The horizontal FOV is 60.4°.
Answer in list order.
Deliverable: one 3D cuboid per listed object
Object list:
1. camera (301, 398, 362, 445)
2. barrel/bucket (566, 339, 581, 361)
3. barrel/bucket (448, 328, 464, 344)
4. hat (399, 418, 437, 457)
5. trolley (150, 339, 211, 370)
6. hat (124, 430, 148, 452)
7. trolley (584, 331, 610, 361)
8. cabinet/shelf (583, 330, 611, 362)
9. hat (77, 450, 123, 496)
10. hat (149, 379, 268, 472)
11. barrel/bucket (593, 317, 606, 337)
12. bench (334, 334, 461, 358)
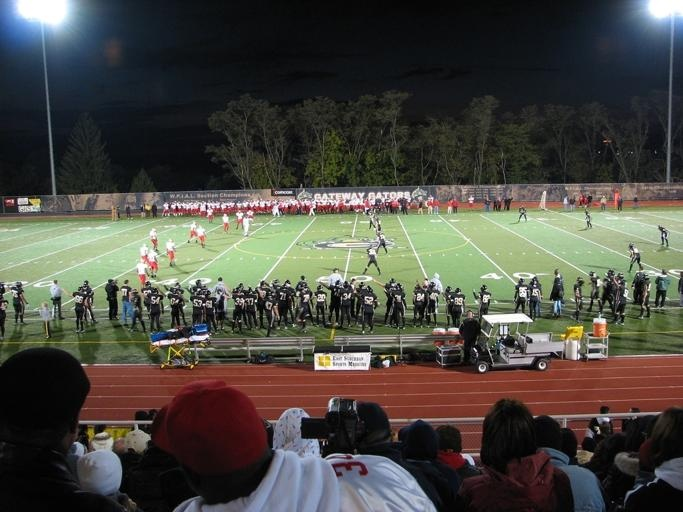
[{"bbox_3d":[-0.046,1.046,3.629,0.430,0.277,0.444,-7,-22,21],"label":"camera"},{"bbox_3d":[6.806,2.754,17.291,0.394,0.534,0.231,-2,-1,17],"label":"barrel/bucket"},{"bbox_3d":[3.525,2.523,18.266,0.458,0.358,0.958,-2,-1,10],"label":"barrel/bucket"},{"bbox_3d":[0.597,1.452,4.668,0.281,0.345,0.395,-2,-19,8],"label":"hat"},{"bbox_3d":[-5.044,3.072,18.287,1.550,0.703,1.031,0,-3,-5],"label":"trolley"},{"bbox_3d":[-2.598,2.348,7.489,0.263,0.302,0.324,2,21,-4],"label":"hat"},{"bbox_3d":[7.494,2.670,17.448,0.900,1.112,0.726,-1,-7,9],"label":"trolley"},{"bbox_3d":[7.480,2.683,17.453,0.900,1.129,0.735,-1,-6,6],"label":"cabinet/shelf"},{"bbox_3d":[-1.878,1.704,4.525,0.308,0.349,0.342,-1,-1,-25],"label":"hat"},{"bbox_3d":[-0.650,0.767,2.748,0.337,0.248,0.480,-15,26,-35],"label":"hat"},{"bbox_3d":[7.800,2.137,17.582,0.534,0.494,0.531,0,-1,0],"label":"barrel/bucket"},{"bbox_3d":[1.640,2.742,18.230,3.576,0.430,1.500,-1,-1,-8],"label":"bench"}]
